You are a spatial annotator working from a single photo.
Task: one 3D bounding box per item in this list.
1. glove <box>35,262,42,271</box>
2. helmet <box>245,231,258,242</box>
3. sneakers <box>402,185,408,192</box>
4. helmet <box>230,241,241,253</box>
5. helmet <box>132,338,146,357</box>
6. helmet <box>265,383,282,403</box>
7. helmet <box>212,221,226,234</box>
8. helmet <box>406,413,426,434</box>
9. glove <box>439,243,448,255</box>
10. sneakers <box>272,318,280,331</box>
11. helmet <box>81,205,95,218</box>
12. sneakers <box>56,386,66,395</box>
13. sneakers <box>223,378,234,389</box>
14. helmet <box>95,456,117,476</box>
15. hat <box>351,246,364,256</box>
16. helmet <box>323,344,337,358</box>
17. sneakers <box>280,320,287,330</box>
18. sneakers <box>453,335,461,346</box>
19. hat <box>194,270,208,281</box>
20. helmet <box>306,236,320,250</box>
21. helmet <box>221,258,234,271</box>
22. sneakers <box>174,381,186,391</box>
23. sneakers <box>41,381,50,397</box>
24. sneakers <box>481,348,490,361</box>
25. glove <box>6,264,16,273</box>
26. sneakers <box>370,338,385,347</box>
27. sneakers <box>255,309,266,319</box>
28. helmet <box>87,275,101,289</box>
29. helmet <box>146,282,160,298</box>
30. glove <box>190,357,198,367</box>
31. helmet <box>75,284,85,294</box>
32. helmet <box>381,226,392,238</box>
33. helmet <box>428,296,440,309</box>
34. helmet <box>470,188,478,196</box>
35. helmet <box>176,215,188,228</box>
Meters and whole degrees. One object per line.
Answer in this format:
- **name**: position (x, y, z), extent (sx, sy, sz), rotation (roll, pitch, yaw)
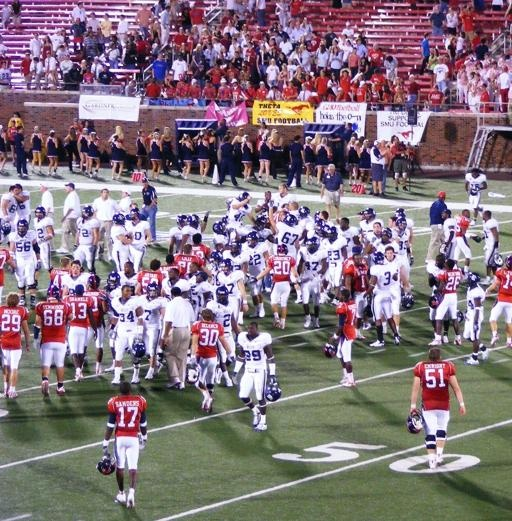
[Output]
- **glove**: position (-4.245, 0.105, 23.293), extent (0.109, 0.193, 0.154), rotation (3, 4, -2)
- **helmet**: position (-0.069, -0.431, 22.189), extent (0.199, 0.242, 0.359), rotation (0, 13, 0)
- **sneakers**: position (4.279, -2.031, 34.172), extent (0.094, 0.249, 0.219), rotation (-1, 0, -24)
- **helmet**: position (-0.361, -0.233, 21.324), extent (0.180, 0.276, 0.431), rotation (0, 13, -3)
- **helmet**: position (-1.761, 1.325, 17.964), extent (0.183, 0.305, 0.275), rotation (-1, 13, -6)
- **helmet**: position (0.236, 1.837, 16.726), extent (0.209, 0.285, 0.298), rotation (0, 13, -3)
- **helmet**: position (-0.682, -0.626, 22.441), extent (0.156, 0.200, 0.240), rotation (10, 47, 25)
- **helmet**: position (2.086, 2.105, 15.612), extent (0.225, 0.245, 0.196), rotation (6, 0, 14)
- **glove**: position (3.799, -0.232, 24.212), extent (0.068, 0.215, 0.145), rotation (11, 4, -40)
- **sneakers**: position (0.385, 1.112, 21.806), extent (0.133, 0.206, 0.252), rotation (-1, 13, -3)
- **helmet**: position (-3.396, -0.957, 24.225), extent (0.179, 0.228, 0.257), rotation (4, 24, -13)
- **sneakers**: position (-2.978, 1.962, 18.258), extent (0.054, 0.088, 0.184), rotation (4, 13, 1)
- **sneakers**: position (-0.429, 1.919, 18.959), extent (0.082, 0.153, 0.132), rotation (-5, 5, -42)
- **helmet**: position (-1.799, 2.438, 14.470), extent (0.189, 0.222, 0.334), rotation (0, 13, 0)
- **hat**: position (1.779, -0.163, 21.102), extent (0.161, 0.148, 0.289), rotation (12, 3, 19)
- **helmet**: position (1.143, 1.375, 18.474), extent (0.184, 0.265, 0.325), rotation (0, 13, 0)
- **sneakers**: position (0.492, 1.135, 21.810), extent (0.069, 0.183, 0.173), rotation (1, 19, 0)
- **sneakers**: position (3.515, 1.372, 20.884), extent (0.078, 0.203, 0.188), rotation (-1, 15, 3)
- **hat**: position (-0.904, 0.268, 19.654), extent (0.169, 0.137, 0.362), rotation (1, 14, 2)
- **helmet**: position (1.045, -0.284, 21.951), extent (0.149, 0.228, 0.254), rotation (-3, 44, 14)
- **helmet**: position (-0.464, 0.088, 19.811), extent (0.217, 0.220, 0.143), rotation (-10, 15, -37)
- **sneakers**: position (-1.188, 1.924, 18.709), extent (0.152, 0.136, 0.094), rotation (0, 12, -1)
- **sneakers**: position (-3.165, 1.920, 17.961), extent (0.094, 0.349, 0.146), rotation (-2, 24, -5)
- **sneakers**: position (3.843, 1.564, 20.116), extent (0.087, 0.271, 0.121), rotation (-20, 52, -28)
- **glove**: position (-4.786, 0.146, 23.423), extent (0.101, 0.133, 0.369), rotation (8, 10, -23)
- **sneakers**: position (2.111, 1.432, 20.916), extent (0.267, 0.145, 0.104), rotation (0, 30, 26)
- **sneakers**: position (0.091, 0.967, 22.592), extent (0.153, 0.177, 0.258), rotation (1, 13, 4)
- **helmet**: position (-2.587, 0.344, 19.077), extent (0.155, 0.239, 0.212), rotation (5, -33, -13)
- **helmet**: position (-1.600, 0.450, 18.565), extent (0.149, 0.240, 0.207), rotation (0, 2, -4)
- **glove**: position (-0.900, 1.461, 17.435), extent (0.040, 0.128, 0.108), rotation (4, 0, 20)
- **helmet**: position (-2.744, 0.438, 18.600), extent (0.104, 0.160, 0.104), rotation (-2, 10, -41)
- **helmet**: position (2.410, -0.493, 22.043), extent (0.123, 0.175, 0.506), rotation (3, 14, 13)
- **helmet**: position (3.053, 0.715, 20.552), extent (0.116, 0.187, 0.152), rotation (10, 24, 2)
- **helmet**: position (5.315, -1.654, 29.127), extent (0.207, 0.230, 0.209), rotation (6, 14, 23)
- **helmet**: position (-1.412, -0.762, 22.935), extent (0.159, 0.246, 0.215), rotation (3, -10, -2)
